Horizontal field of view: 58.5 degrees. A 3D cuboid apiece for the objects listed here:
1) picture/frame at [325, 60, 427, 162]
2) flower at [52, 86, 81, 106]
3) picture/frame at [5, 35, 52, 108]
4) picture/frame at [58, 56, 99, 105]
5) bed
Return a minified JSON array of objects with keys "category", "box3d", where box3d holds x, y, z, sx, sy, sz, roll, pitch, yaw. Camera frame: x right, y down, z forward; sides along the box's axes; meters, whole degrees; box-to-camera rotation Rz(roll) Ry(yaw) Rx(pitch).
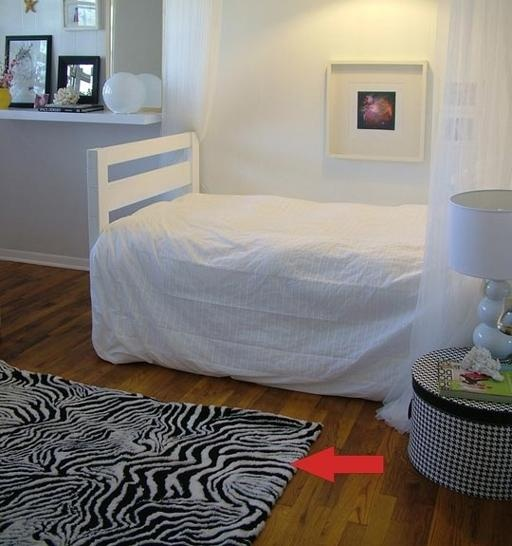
[{"category":"picture/frame","box3d":[0.768,-1.020,2.815,0.523,0.572,0.057,4,13,19]},{"category":"flower","box3d":[-1.284,-1.183,3.071,0.135,0.076,0.153,-17,26,-29]},{"category":"picture/frame","box3d":[-1.610,-1.443,3.225,0.454,0.716,0.028,9,15,21]},{"category":"picture/frame","box3d":[-1.217,-1.326,3.139,0.292,0.342,0.024,7,12,18]},{"category":"bed","box3d":[0.118,-0.276,2.407,1.722,1.195,1.325,5,37,4]}]
